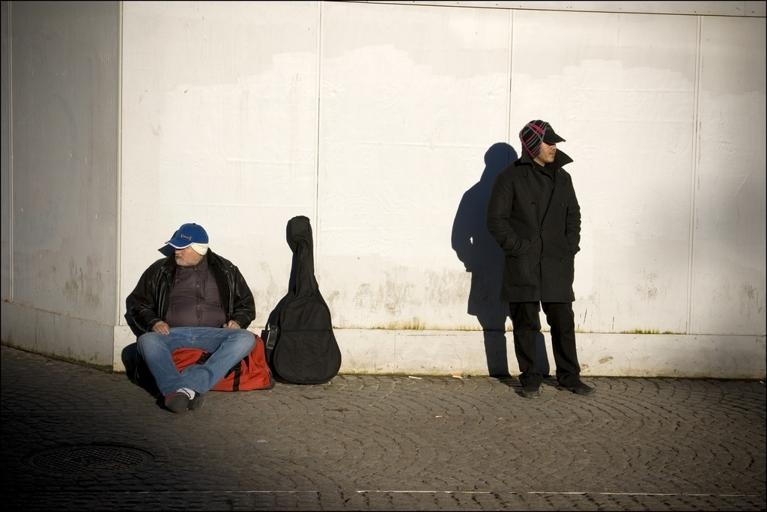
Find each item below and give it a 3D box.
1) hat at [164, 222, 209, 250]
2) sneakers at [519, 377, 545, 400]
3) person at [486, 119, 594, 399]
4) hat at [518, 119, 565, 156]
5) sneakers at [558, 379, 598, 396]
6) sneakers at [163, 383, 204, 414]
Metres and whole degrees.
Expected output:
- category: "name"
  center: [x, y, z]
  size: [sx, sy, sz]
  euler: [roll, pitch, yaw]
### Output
- category: "hat"
  center: [-2.130, -0.209, 11.826]
  size: [0.372, 0.210, 0.271]
  euler: [4, 4, -13]
- category: "sneakers"
  center: [1.615, 1.456, 11.822]
  size: [0.177, 0.190, 0.490]
  euler: [1, -7, 2]
- category: "person"
  center: [1.703, 0.027, 11.859]
  size: [1.100, 2.983, 0.455]
  euler: [-1, 5, 2]
- category: "hat"
  center: [1.737, -1.314, 11.843]
  size: [0.495, 0.266, 0.313]
  euler: [-14, 16, 15]
- category: "sneakers"
  center: [2.146, 1.439, 11.984]
  size: [0.326, 0.125, 0.176]
  euler: [4, 5, 38]
- category: "sneakers"
  center: [-2.050, 1.487, 11.131]
  size: [0.188, 0.186, 0.448]
  euler: [27, 9, 41]
